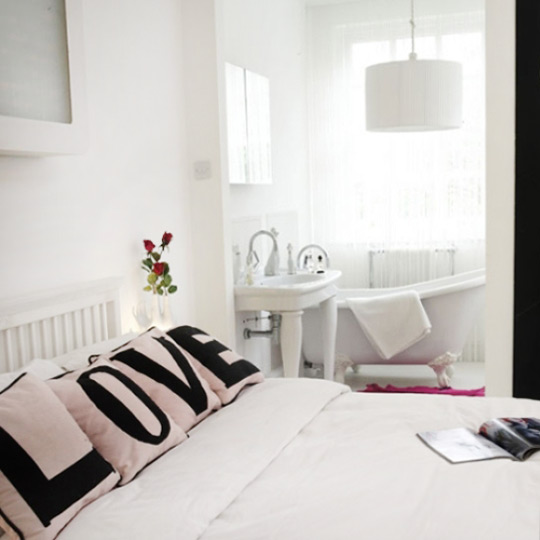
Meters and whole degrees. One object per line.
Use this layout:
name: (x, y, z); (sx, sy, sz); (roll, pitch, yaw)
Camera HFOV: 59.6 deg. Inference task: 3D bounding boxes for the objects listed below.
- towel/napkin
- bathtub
towel/napkin: (0.868, 0.367, 3.302); (0.433, 0.536, 0.175); (-21, 4, 17)
bathtub: (0.958, 0.437, 3.670); (1.324, 0.682, 0.735); (-9, -1, 13)
